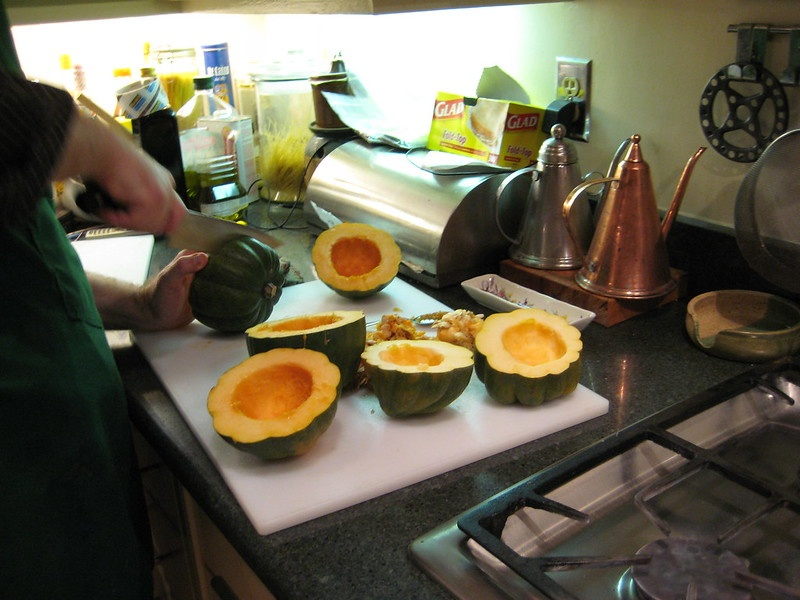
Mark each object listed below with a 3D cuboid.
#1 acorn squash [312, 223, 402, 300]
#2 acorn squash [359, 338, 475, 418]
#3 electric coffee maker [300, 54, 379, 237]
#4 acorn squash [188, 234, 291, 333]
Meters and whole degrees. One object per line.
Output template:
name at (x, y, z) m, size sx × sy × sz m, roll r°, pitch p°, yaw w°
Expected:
acorn squash at (-0.084, -0.071, 1.118) m, size 0.111 × 0.101 × 0.135 m, roll 15°, pitch 33°, yaw 26°
acorn squash at (0.014, 0.083, 0.836) m, size 0.160 × 0.098 × 0.163 m, roll -8°, pitch 25°, yaw -18°
electric coffee maker at (-0.182, -0.394, 1.490) m, size 0.163 × 0.442 × 0.194 m, roll -19°, pitch 36°, yaw -25°
acorn squash at (-0.276, -0.026, 1.061) m, size 0.156 × 0.164 × 0.168 m, roll 26°, pitch 8°, yaw -3°
